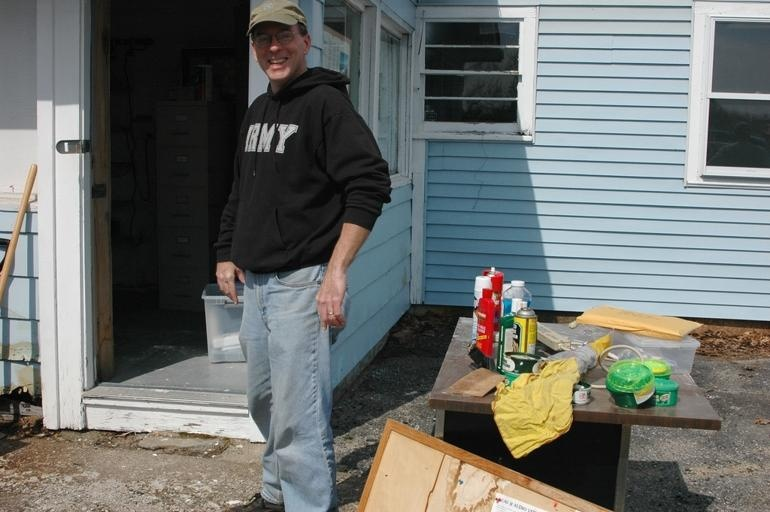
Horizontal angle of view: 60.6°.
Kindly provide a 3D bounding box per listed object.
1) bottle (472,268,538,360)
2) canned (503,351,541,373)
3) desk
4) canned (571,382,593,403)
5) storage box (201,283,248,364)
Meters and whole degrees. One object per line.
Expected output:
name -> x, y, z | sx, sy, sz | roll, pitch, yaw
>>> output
bottle -> 0.681, 0.324, 3.903 | 0.468, 0.695, 0.426 | 1, 4, 0
canned -> 0.679, 0.517, 3.285 | 0.118, 0.067, 0.117 | -2, 3, -42
desk -> 0.894, 0.784, 3.262 | 1.030, 0.575, 1.005 | 5, 10, 23
canned -> 0.923, 0.643, 3.110 | 0.101, 0.067, 0.095 | -1, 4, -10
storage box -> -1.342, 0.589, 5.734 | 0.593, 0.491, 0.763 | 0, 2, -6
